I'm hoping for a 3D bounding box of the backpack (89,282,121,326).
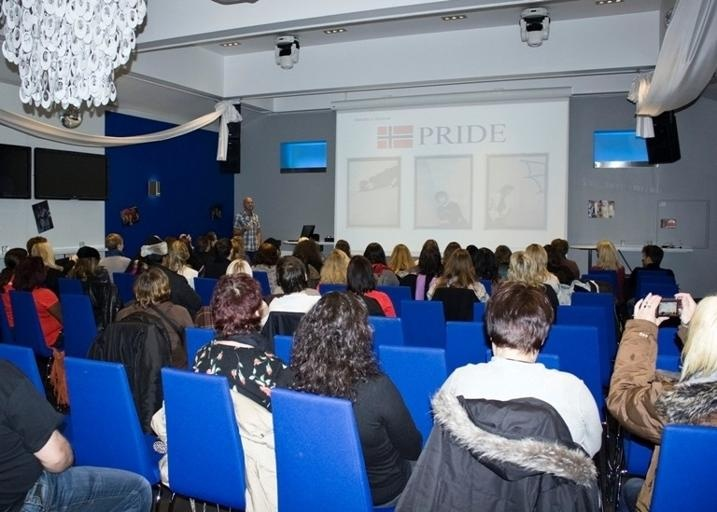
[{"bbox_3d":[-2.166,0.425,4.439,0.257,0.455,0.214,5,9,24],"label":"backpack"}]

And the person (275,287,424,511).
[{"bbox_3d":[0.007,0.610,2.562,0.572,1.065,0.883,-1,4,18],"label":"person"}]

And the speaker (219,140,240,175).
[{"bbox_3d":[-2.430,-1.894,9.855,0.393,0.607,0.123,0,4,8],"label":"speaker"}]

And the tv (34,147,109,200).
[{"bbox_3d":[-5.136,-1.458,9.239,0.100,0.684,0.965,0,1,30],"label":"tv"}]

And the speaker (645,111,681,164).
[{"bbox_3d":[4.855,-1.904,8.342,0.464,0.768,0.730,3,6,37],"label":"speaker"}]

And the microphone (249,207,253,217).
[{"bbox_3d":[-2.214,-0.911,10.769,0.101,0.093,0.287,-11,-19,-9],"label":"microphone"}]

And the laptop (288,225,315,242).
[{"bbox_3d":[-1.238,-0.499,11.562,0.322,0.429,0.478,10,7,18],"label":"laptop"}]
